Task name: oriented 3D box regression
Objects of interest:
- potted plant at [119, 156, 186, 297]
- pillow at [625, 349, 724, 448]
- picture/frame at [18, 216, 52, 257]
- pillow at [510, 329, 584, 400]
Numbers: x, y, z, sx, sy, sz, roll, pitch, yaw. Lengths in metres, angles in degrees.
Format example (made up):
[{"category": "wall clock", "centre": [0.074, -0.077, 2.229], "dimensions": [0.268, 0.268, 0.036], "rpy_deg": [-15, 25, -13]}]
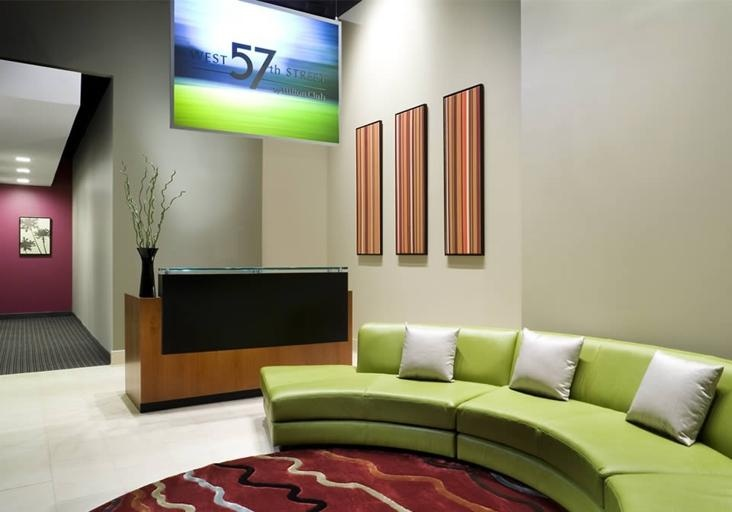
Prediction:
[{"category": "potted plant", "centre": [-2.421, -0.444, 5.854], "dimensions": [0.750, 1.487, 2.262], "rpy_deg": [-4, 7, -20]}, {"category": "pillow", "centre": [2.016, 0.949, 3.348], "dimensions": [0.422, 0.259, 0.441], "rpy_deg": [-47, 12, -24]}, {"category": "picture/frame", "centre": [-6.963, -0.410, 10.763], "dimensions": [0.814, 1.160, 0.043], "rpy_deg": [0, 3, -32]}, {"category": "pillow", "centre": [1.396, 0.854, 4.070], "dimensions": [0.259, 0.483, 0.510], "rpy_deg": [6, -2, -39]}]
